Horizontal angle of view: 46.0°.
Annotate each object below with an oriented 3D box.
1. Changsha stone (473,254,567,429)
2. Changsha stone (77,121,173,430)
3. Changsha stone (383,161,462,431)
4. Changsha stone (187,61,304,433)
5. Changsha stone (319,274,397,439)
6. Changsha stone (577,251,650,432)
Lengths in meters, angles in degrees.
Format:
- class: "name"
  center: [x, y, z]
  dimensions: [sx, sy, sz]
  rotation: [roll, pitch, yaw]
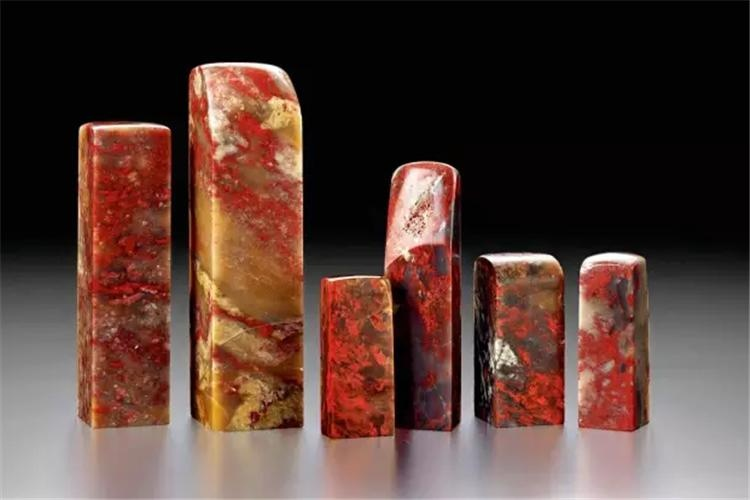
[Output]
- class: "Changsha stone"
  center: [0.605, 0.375, 3.698]
  dimensions: [0.374, 0.705, 0.191]
  rotation: [1, 9, 4]
- class: "Changsha stone"
  center: [-1.012, 0.111, 3.661]
  dimensions: [0.340, 1.237, 0.158]
  rotation: [-2, 9, -13]
- class: "Changsha stone"
  center: [0.192, 0.183, 3.701]
  dimensions: [0.300, 1.079, 0.274]
  rotation: [1, 9, 9]
- class: "Changsha stone"
  center: [-0.553, -0.024, 3.717]
  dimensions: [0.494, 1.495, 0.390]
  rotation: [-1, 9, -5]
- class: "Changsha stone"
  center: [-0.054, 0.404, 3.618]
  dimensions: [0.276, 0.688, 0.231]
  rotation: [-1, 17, 3]
- class: "Changsha stone"
  center: [0.977, 0.377, 3.648]
  dimensions: [0.266, 0.712, 0.142]
  rotation: [1, 9, 7]
